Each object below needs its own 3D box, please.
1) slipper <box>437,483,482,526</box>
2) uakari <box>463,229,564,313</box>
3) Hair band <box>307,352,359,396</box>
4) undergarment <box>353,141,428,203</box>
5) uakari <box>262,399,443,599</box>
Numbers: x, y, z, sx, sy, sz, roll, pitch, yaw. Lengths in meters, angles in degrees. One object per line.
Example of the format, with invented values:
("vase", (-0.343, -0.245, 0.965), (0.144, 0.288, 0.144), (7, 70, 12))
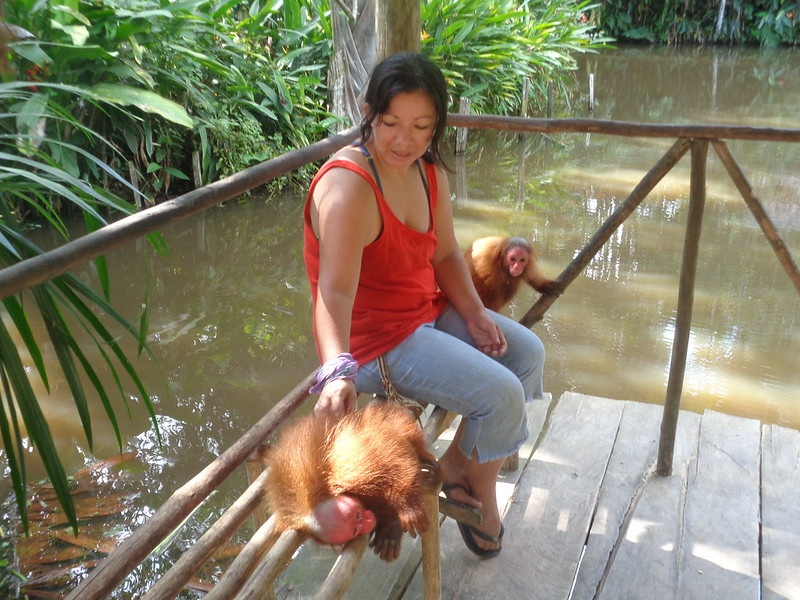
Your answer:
("slipper", (0.219, 0.728, 2.234), (0.079, 0.237, 0.076), (-18, 29, 52))
("uakari", (0.535, -0.167, 3.205), (0.376, 0.348, 0.624), (8, 10, -11))
("Hair band", (-0.206, 0.230, 1.888), (0.060, 0.128, 0.106), (52, 28, 16))
("undergarment", (-0.043, -0.428, 2.086), (0.209, 0.243, 0.072), (1, 5, 0))
("uakari", (-0.064, 0.638, 1.897), (0.354, 0.289, 0.493), (28, -1, 14))
